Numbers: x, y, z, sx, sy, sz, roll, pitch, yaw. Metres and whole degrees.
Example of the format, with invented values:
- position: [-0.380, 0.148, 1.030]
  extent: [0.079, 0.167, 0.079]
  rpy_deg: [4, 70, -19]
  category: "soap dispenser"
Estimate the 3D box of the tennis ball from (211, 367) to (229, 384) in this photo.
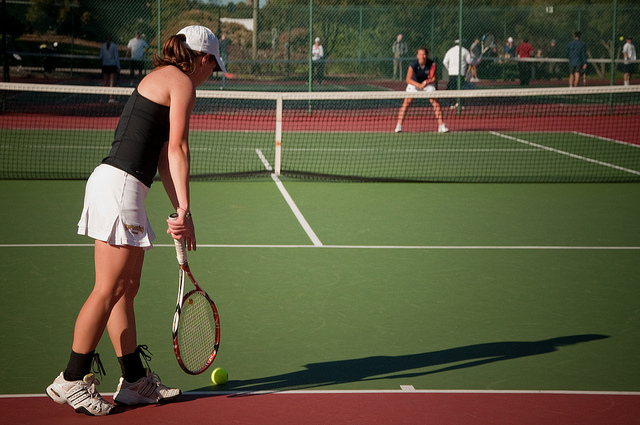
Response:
- position: [-0.826, 1.346, 5.394]
  extent: [0.112, 0.127, 0.119]
  rpy_deg: [-1, 7, 0]
  category: "tennis ball"

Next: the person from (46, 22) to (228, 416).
- position: [-1.422, 0.036, 5.049]
  extent: [1.250, 2.883, 0.809]
  rpy_deg: [-1, 13, -9]
  category: "person"

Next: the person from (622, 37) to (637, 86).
- position: [10.206, -4.996, 21.377]
  extent: [0.423, 1.493, 0.824]
  rpy_deg: [7, 15, 24]
  category: "person"

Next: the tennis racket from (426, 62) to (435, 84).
- position: [2.704, -3.361, 15.706]
  extent: [0.115, 0.508, 0.130]
  rpy_deg: [4, 27, -26]
  category: "tennis racket"

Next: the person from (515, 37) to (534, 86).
- position: [7.761, -5.671, 24.516]
  extent: [0.643, 1.781, 0.843]
  rpy_deg: [8, 15, 27]
  category: "person"

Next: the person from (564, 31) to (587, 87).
- position: [8.310, -4.969, 20.990]
  extent: [0.652, 1.739, 1.034]
  rpy_deg: [6, 15, 22]
  category: "person"

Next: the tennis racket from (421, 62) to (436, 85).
- position: [2.660, -3.362, 15.597]
  extent: [0.097, 0.417, 0.211]
  rpy_deg: [12, 0, -43]
  category: "tennis racket"

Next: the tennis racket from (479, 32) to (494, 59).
- position: [5.789, -5.832, 22.411]
  extent: [0.407, 0.095, 1.513]
  rpy_deg: [39, 41, -25]
  category: "tennis racket"
